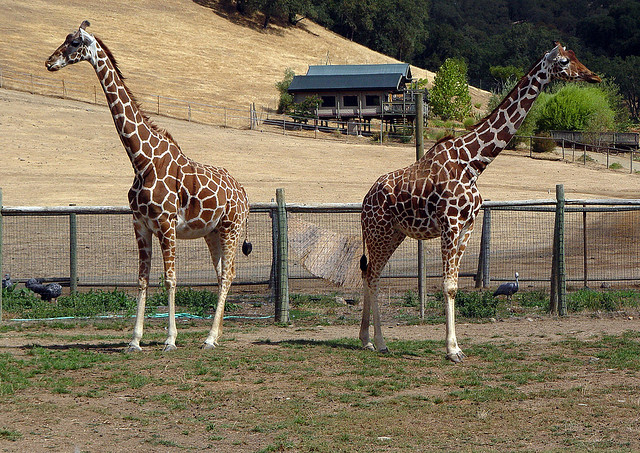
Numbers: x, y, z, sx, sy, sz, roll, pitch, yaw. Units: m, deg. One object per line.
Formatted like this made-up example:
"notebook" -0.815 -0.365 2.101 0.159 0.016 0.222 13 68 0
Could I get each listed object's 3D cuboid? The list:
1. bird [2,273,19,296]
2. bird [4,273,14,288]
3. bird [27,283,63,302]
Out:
"bird" -16.442 3.127 68.014 0.636 1.049 1.025 -1 2 -5
"bird" -16.519 2.954 68.126 0.275 0.893 0.415 -8 20 -10
"bird" -14.373 3.452 67.721 1.770 1.249 0.748 4 -1 6
